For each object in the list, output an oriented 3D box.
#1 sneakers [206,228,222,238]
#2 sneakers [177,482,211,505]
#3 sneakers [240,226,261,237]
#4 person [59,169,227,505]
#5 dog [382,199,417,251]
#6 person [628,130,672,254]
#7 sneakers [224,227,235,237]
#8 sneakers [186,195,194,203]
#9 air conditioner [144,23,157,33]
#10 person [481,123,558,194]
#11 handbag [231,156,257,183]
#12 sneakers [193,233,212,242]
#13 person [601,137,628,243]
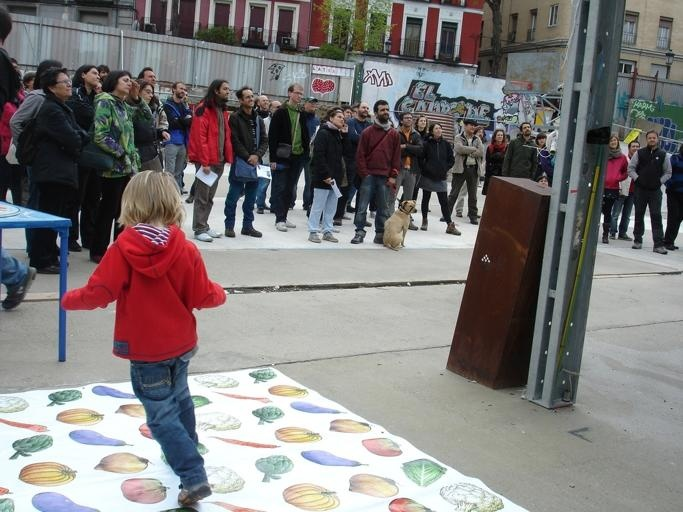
[{"bbox_3d":[-1.866,-0.318,9.902,0.110,0.091,0.215,-4,5,-31],"label":"sneakers"},{"bbox_3d":[-0.834,1.335,3.845,0.221,0.098,0.101,-5,-22,1],"label":"sneakers"},{"bbox_3d":[-1.369,-0.359,10.328,0.350,0.174,0.126,7,11,-5],"label":"sneakers"},{"bbox_3d":[-1.041,0.454,3.912,0.806,1.817,0.428,8,13,13],"label":"person"},{"bbox_3d":[0.879,-0.479,10.617,0.655,0.768,0.434,-15,24,-22],"label":"dog"},{"bbox_3d":[5.897,-1.198,12.860,0.877,2.187,0.880,15,16,39],"label":"person"},{"bbox_3d":[-1.651,-0.327,9.979,0.087,0.112,0.162,2,-4,-26],"label":"sneakers"},{"bbox_3d":[-2.765,-1.016,12.338,0.127,0.115,0.261,4,4,0],"label":"sneakers"},{"bbox_3d":[-12.044,-14.151,42.447,0.767,0.553,0.756,5,13,-1],"label":"air conditioner"},{"bbox_3d":[3.645,-2.091,13.849,1.280,1.201,1.305,7,13,9],"label":"person"},{"bbox_3d":[-1.394,-1.220,9.653,0.314,0.361,0.177,7,-2,-31],"label":"handbag"},{"bbox_3d":[-1.947,-0.253,9.563,0.262,0.103,0.106,6,11,42],"label":"sneakers"},{"bbox_3d":[5.269,-1.242,13.084,0.383,2.085,1.527,10,14,22],"label":"person"}]
